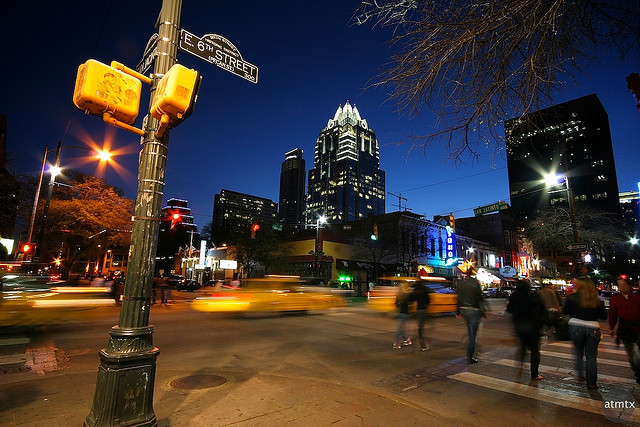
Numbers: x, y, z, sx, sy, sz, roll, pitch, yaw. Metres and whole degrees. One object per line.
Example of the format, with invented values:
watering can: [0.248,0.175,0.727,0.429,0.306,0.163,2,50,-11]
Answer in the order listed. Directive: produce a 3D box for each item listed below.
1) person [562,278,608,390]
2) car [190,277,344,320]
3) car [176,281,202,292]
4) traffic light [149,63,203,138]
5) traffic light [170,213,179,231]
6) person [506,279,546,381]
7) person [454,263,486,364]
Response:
person: [6.576,2.897,9.846,0.843,2.645,0.578,-8,-14,40]
car: [-2.110,3.800,19.206,6.586,1.604,1.024,7,-12,-28]
car: [-14.641,8.039,44.479,1.940,0.931,1.135,1,-1,-26]
traffic light: [-2.754,-2.100,7.515,0.902,1.222,0.515,-7,-14,39]
traffic light: [-7.345,0.337,20.206,0.414,0.886,1.181,6,-12,-23]
person: [5.317,2.945,10.266,0.834,2.502,0.603,-3,-12,24]
person: [4.558,2.994,11.990,0.748,2.699,1.258,-2,-11,18]
